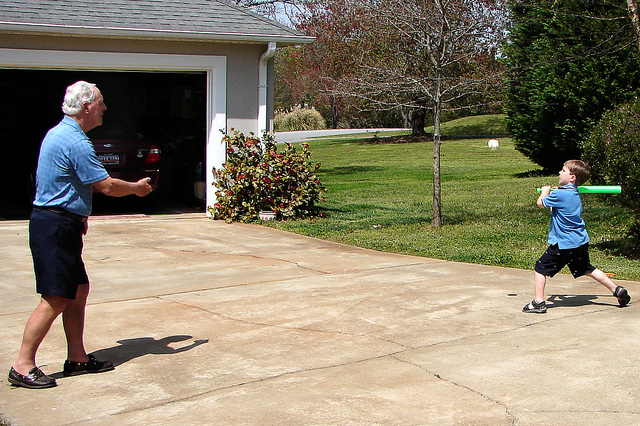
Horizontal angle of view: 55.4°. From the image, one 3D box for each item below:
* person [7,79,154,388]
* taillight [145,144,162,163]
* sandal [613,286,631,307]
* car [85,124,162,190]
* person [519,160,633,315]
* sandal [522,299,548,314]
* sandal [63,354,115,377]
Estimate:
[{"bbox_3d":[-2.254,0.144,5.416,1.111,2.638,0.743,-5,8,-15],"label":"person"},{"bbox_3d":[-3.577,-1.296,13.264,0.145,0.388,0.383,2,8,33],"label":"taillight"},{"bbox_3d":[3.424,0.944,6.970,0.131,0.271,0.120,-48,32,-12],"label":"sandal"},{"bbox_3d":[-4.247,-1.325,13.508,1.873,1.072,3.725,0,10,-13],"label":"car"},{"bbox_3d":[2.957,0.231,7.119,1.037,1.677,1.339,1,7,23],"label":"person"},{"bbox_3d":[2.401,1.059,6.840,0.289,0.108,0.115,0,3,20],"label":"sandal"},{"bbox_3d":[-2.058,1.370,5.512,0.409,0.128,0.163,-2,-1,-18],"label":"sandal"}]
